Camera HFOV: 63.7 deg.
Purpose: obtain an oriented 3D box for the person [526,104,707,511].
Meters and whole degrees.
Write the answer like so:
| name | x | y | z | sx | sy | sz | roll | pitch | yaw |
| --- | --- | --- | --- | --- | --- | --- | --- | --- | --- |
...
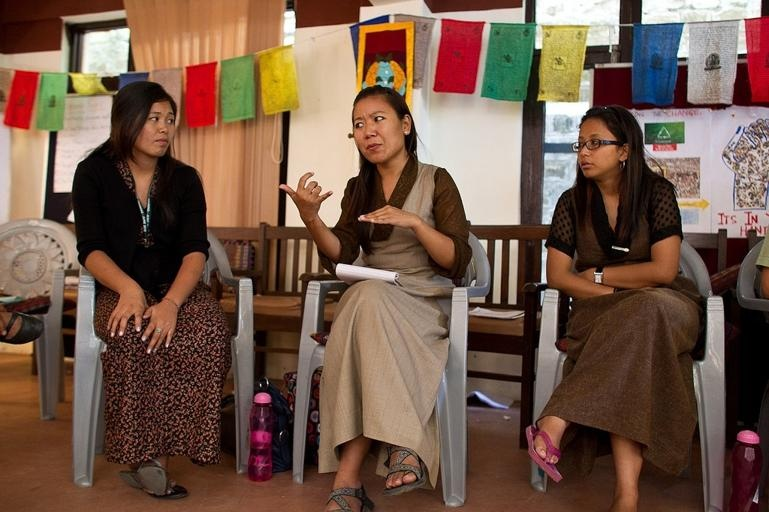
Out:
| name | x | y | z | sx | sy | sz | roll | pitch | yaw |
| --- | --- | --- | --- | --- | --- | --- | --- | --- | --- |
| person | 1.004 | 0.184 | 2.687 | 0.675 | 1.766 | 0.837 | 1 | 4 | 26 |

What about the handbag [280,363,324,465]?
| name | x | y | z | sx | sy | sz | roll | pitch | yaw |
| --- | --- | --- | --- | --- | --- | --- | --- | --- | --- |
| handbag | -0.446 | 0.777 | 3.023 | 0.251 | 0.465 | 0.267 | 0 | -16 | 12 |

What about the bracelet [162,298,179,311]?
| name | x | y | z | sx | sy | sz | roll | pitch | yaw |
| --- | --- | --- | --- | --- | --- | --- | --- | --- | --- |
| bracelet | -0.930 | 0.210 | 2.733 | 0.066 | 0.054 | 0.050 | -2 | 4 | -22 |

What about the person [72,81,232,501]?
| name | x | y | z | sx | sy | sz | roll | pitch | yaw |
| --- | --- | --- | --- | --- | --- | --- | --- | --- | --- |
| person | -1.035 | 0.105 | 2.794 | 0.653 | 1.822 | 0.612 | -2 | 4 | -22 |

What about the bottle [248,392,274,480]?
| name | x | y | z | sx | sy | sz | roll | pitch | yaw |
| --- | --- | --- | --- | --- | --- | --- | --- | --- | --- |
| bottle | -0.557 | 0.816 | 2.844 | 0.131 | 0.396 | 0.119 | -2 | 4 | -26 |

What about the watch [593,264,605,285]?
| name | x | y | z | sx | sy | sz | roll | pitch | yaw |
| --- | --- | --- | --- | --- | --- | --- | --- | --- | --- |
| watch | 0.995 | 0.084 | 2.869 | 0.051 | 0.081 | 0.073 | 1 | -4 | 20 |

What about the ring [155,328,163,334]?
| name | x | y | z | sx | sy | sz | roll | pitch | yaw |
| --- | --- | --- | --- | --- | --- | --- | --- | --- | --- |
| ring | -0.951 | 0.316 | 2.629 | 0.024 | 0.026 | 0.010 | -2 | 4 | -20 |

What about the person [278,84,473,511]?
| name | x | y | z | sx | sy | sz | roll | pitch | yaw |
| --- | --- | --- | --- | --- | --- | --- | --- | --- | --- |
| person | -0.010 | 0.139 | 2.695 | 0.731 | 1.814 | 0.700 | 0 | 4 | 13 |

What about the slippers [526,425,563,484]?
| name | x | y | z | sx | sy | sz | roll | pitch | yaw |
| --- | --- | --- | --- | --- | --- | --- | --- | --- | --- |
| slippers | 0.641 | 0.793 | 2.523 | 0.086 | 0.241 | 0.134 | -38 | -19 | -5 |

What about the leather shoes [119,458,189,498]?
| name | x | y | z | sx | sy | sz | roll | pitch | yaw |
| --- | --- | --- | --- | --- | --- | --- | --- | --- | --- |
| leather shoes | -0.966 | 0.943 | 2.641 | 0.295 | 0.129 | 0.135 | 4 | 6 | 28 |

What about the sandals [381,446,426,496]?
| name | x | y | z | sx | sy | sz | roll | pitch | yaw |
| --- | --- | --- | --- | --- | --- | --- | --- | --- | --- |
| sandals | 0.089 | 0.853 | 2.473 | 0.188 | 0.198 | 0.170 | -1 | 4 | -5 |
